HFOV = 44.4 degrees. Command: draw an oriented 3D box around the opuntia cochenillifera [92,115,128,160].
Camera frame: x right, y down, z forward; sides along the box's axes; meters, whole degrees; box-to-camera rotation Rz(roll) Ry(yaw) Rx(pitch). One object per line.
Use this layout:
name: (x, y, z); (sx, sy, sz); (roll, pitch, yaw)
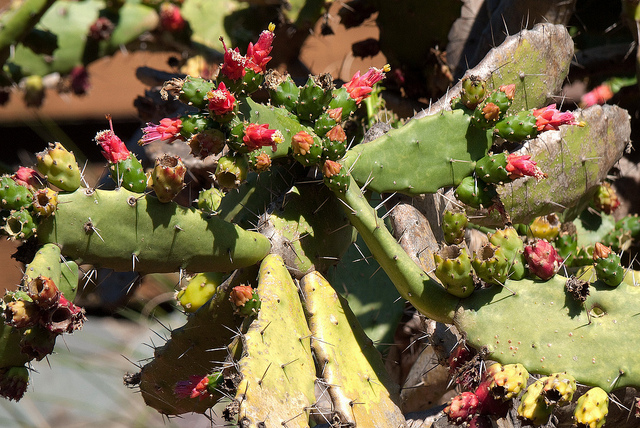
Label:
opuntia cochenillifera: (-0.915, -0.331, 3.401); (0.110, 0.180, 0.199); (-22, 48, -32)

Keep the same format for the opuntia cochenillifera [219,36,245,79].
opuntia cochenillifera: (-0.392, -0.741, 3.520); (0.111, 0.217, 0.195); (-1, 40, -10)
